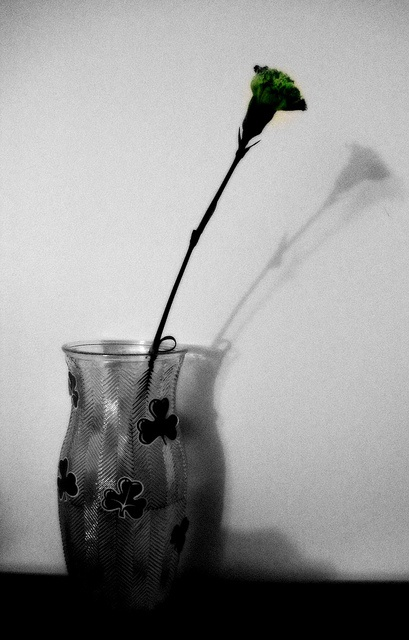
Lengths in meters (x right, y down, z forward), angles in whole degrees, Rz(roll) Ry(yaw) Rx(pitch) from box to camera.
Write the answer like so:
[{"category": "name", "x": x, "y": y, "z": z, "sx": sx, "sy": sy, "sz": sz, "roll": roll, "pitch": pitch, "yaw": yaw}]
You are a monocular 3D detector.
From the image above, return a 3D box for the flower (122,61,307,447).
[{"category": "flower", "x": 0.028, "y": -0.110, "z": 0.970, "sx": 0.206, "sy": 0.528, "sz": 0.249, "roll": 3, "pitch": 9, "yaw": 7}]
